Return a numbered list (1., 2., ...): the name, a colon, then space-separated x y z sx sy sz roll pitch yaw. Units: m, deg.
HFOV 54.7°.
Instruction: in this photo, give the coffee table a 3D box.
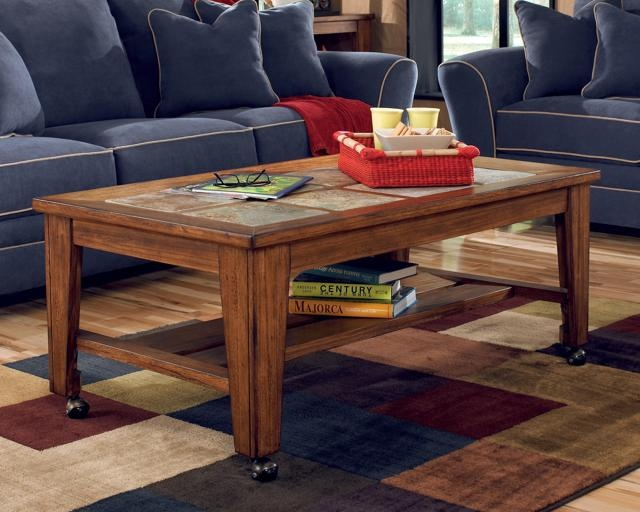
1. coffee table: 0.067 0.012 1.703 1.188 0.328 0.694 -11 15 -41
